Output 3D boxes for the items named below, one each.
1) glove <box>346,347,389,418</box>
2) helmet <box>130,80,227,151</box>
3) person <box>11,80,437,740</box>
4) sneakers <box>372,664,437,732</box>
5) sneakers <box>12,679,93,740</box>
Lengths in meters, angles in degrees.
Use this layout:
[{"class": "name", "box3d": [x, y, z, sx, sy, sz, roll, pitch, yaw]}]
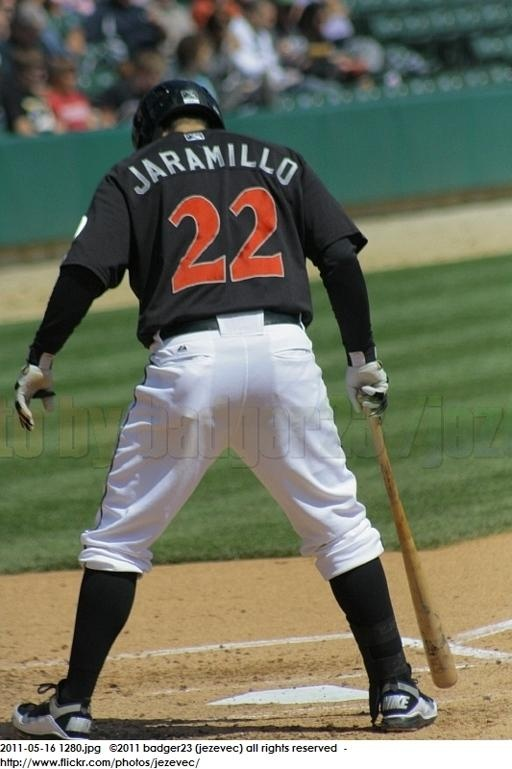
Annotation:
[{"class": "glove", "box3d": [0.296, -0.013, 2.439, 0.125, 0.144, 0.074, -3, 23, 37]}, {"class": "helmet", "box3d": [-0.207, -0.705, 2.445, 0.194, 0.178, 0.225, -7, -8, -18]}, {"class": "person", "box3d": [-0.102, 0.125, 2.246, 0.965, 1.482, 0.496, -4, 13, -4]}, {"class": "sneakers", "box3d": [0.404, 0.779, 2.276, 0.089, 0.126, 0.225, -4, -5, 32]}, {"class": "sneakers", "box3d": [-0.495, 0.790, 2.232, 0.259, 0.110, 0.096, -5, -16, 42]}]
